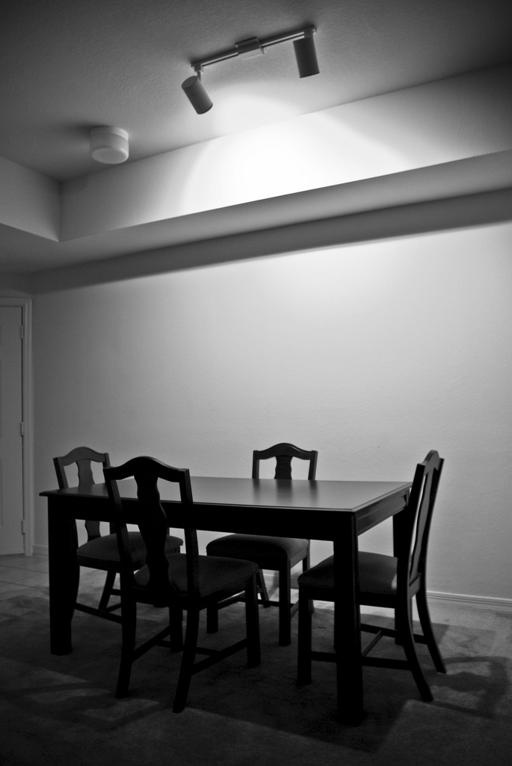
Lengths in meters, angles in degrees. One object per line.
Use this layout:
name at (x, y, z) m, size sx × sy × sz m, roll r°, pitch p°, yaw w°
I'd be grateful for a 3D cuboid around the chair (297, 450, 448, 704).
chair at (0.433, 0.666, 2.185) m, size 0.462 × 0.803 × 0.424 m, roll 0°, pitch -2°, yaw 22°

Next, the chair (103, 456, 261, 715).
chair at (-0.265, 0.696, 2.242) m, size 0.443 × 0.853 × 0.486 m, roll -2°, pitch -2°, yaw 21°

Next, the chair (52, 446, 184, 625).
chair at (-0.617, 0.711, 2.755) m, size 0.429 × 0.658 × 0.489 m, roll -5°, pitch -7°, yaw -34°
